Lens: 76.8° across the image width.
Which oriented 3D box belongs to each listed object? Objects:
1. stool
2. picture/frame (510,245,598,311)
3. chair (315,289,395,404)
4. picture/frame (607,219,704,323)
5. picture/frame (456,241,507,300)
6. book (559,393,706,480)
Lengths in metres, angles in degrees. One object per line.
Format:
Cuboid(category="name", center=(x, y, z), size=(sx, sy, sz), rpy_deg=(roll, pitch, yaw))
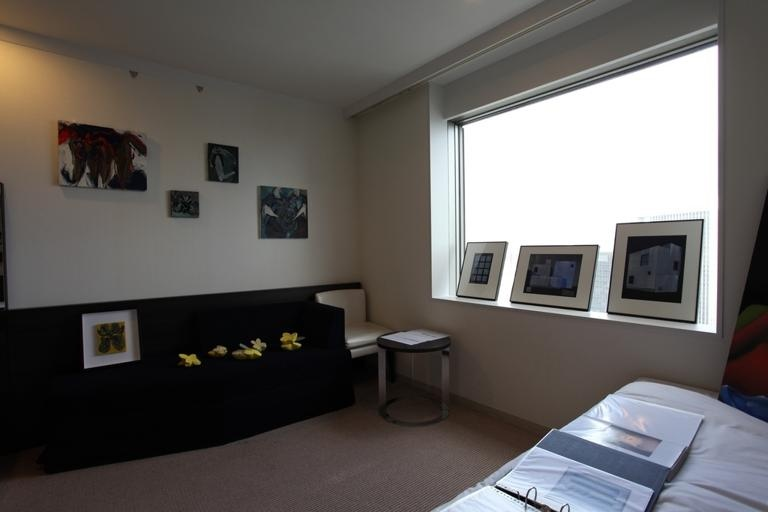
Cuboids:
Cuboid(category="stool", center=(0.328, 1.140, 4.768), size=(0.770, 0.838, 0.769), rpy_deg=(-1, 14, 2))
Cuboid(category="picture/frame", center=(1.596, 0.222, 4.456), size=(0.605, 0.531, 0.064), rpy_deg=(-2, -20, 45))
Cuboid(category="chair", center=(-0.333, 0.846, 5.463), size=(0.826, 1.102, 0.851), rpy_deg=(-2, 1, -33))
Cuboid(category="picture/frame", center=(2.233, 0.142, 3.933), size=(0.085, 1.052, 0.782), rpy_deg=(15, -13, -36))
Cuboid(category="picture/frame", center=(1.025, 0.167, 4.972), size=(0.068, 0.692, 0.559), rpy_deg=(27, -13, -38))
Cuboid(category="book", center=(1.569, 1.079, 2.978), size=(0.456, 0.111, 0.466), rpy_deg=(13, 21, 42))
